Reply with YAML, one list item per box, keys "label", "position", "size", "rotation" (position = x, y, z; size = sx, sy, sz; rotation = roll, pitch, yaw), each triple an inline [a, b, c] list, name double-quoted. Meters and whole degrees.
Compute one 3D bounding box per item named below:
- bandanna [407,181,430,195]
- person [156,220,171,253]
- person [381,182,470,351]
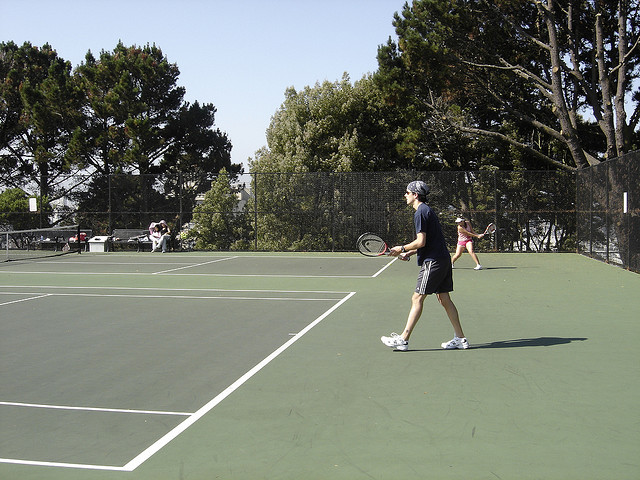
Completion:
- label: "bandanna"
  position: [1.340, -0.701, 8.018]
  size: [0.226, 0.140, 0.181]
  rotation: [1, 9, 17]
- label: "person"
  position: [-7.636, -0.166, 28.928]
  size: [0.540, 1.543, 1.147]
  rotation: [-1, 4, -4]
- label: "person"
  position: [1.451, 0.528, 8.106]
  size: [1.112, 2.005, 0.526]
  rotation: [0, 4, 9]
